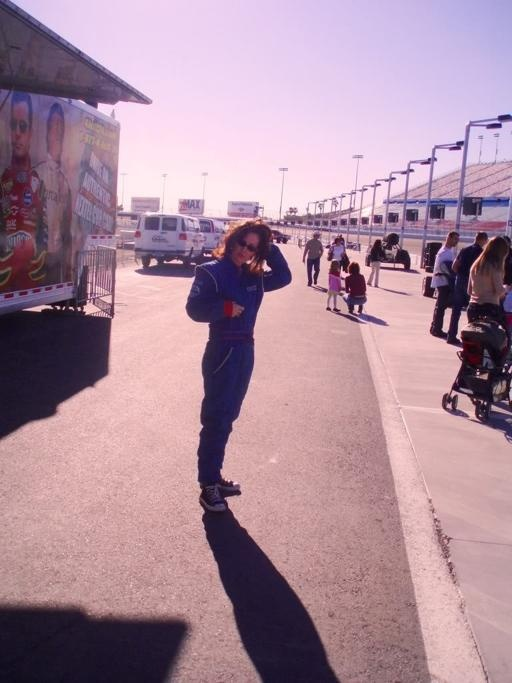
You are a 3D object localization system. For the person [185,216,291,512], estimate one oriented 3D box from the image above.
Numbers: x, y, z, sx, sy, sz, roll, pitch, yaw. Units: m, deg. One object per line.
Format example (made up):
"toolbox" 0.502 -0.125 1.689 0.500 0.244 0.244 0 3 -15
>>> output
"person" -0.146 0.151 3.134 0.444 1.869 0.740 4 6 21

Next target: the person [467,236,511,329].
"person" 2.902 -0.781 5.948 0.442 1.097 1.106 4 6 24

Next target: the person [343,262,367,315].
"person" 2.744 -1.492 13.133 0.551 1.488 1.580 3 6 11

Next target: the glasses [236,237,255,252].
"glasses" -0.058 -0.610 2.995 0.111 0.074 0.055 2 5 -4

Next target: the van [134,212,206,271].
"van" -4.122 -5.360 24.174 1.993 2.133 4.143 3 18 6

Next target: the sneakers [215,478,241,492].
"sneakers" -0.185 1.016 3.327 0.070 0.088 0.202 1 -9 -22
